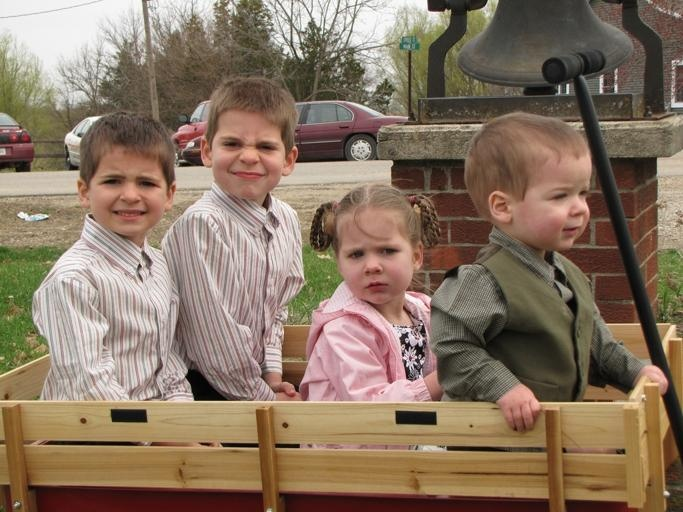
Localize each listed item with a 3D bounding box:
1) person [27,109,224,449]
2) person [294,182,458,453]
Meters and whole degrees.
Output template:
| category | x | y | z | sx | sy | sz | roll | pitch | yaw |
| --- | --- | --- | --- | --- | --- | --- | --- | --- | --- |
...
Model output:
| category | x | y | z | sx | sy | sz | roll | pitch | yaw |
| --- | --- | --- | --- | --- | --- | --- | --- | --- | --- |
| person | -0.837 | 0.076 | 3.344 | 0.478 | 1.318 | 0.671 | -2 | 4 | 33 |
| person | 0.200 | 0.273 | 3.475 | 0.761 | 1.073 | 0.661 | -3 | -1 | -3 |
